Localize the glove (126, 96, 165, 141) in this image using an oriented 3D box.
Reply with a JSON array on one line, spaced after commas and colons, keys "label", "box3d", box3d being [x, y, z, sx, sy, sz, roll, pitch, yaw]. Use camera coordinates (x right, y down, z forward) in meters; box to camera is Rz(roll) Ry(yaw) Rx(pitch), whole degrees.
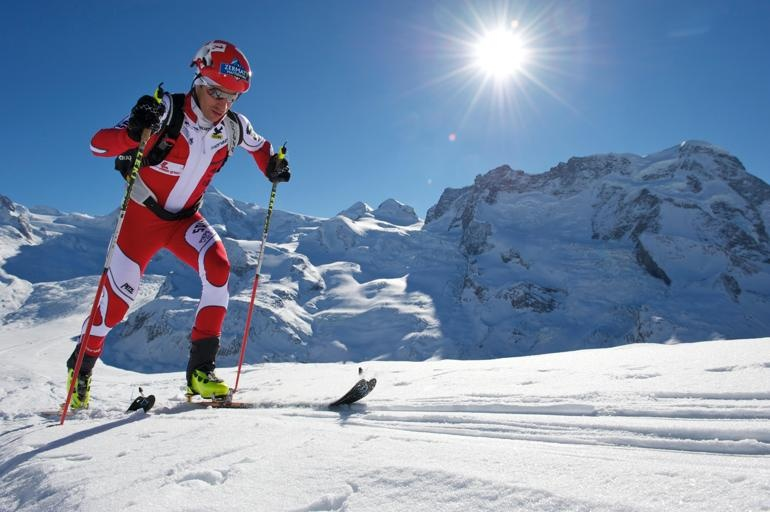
[{"label": "glove", "box3d": [-3.343, -1.915, 8.445, 0.568, 0.588, 0.305, -12, 12, -16]}]
